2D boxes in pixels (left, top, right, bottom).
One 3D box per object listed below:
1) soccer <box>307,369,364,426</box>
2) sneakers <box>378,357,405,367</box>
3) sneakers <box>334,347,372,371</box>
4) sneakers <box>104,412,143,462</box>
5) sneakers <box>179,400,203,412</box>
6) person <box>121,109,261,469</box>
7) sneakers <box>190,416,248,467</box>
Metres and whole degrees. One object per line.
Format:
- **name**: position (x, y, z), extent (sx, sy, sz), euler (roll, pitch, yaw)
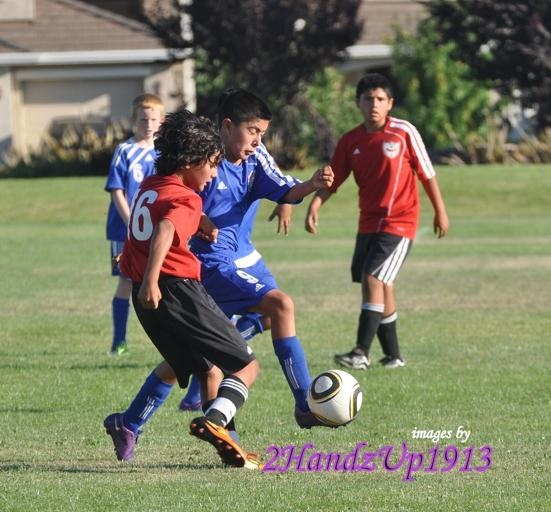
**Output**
- **soccer**: position (0.374, 0.893, 8.239), extent (0.317, 0.347, 0.317), euler (1, -2, -7)
- **sneakers**: position (0.875, 0.808, 9.915), extent (0.189, 0.094, 0.073), euler (5, -2, -1)
- **sneakers**: position (0.579, 0.774, 9.777), extent (0.302, 0.154, 0.115), euler (14, -3, -32)
- **sneakers**: position (-0.936, 1.109, 8.186), extent (0.184, 0.386, 0.133), euler (-18, 2, 12)
- **sneakers**: position (-0.577, 1.021, 8.867), extent (0.203, 0.088, 0.077), euler (0, 5, 6)
- **person**: position (-0.517, 0.210, 7.988), extent (0.877, 2.132, 0.631), euler (7, 13, 37)
- **sneakers**: position (-0.360, 1.139, 7.975), extent (0.097, 0.266, 0.146), euler (-39, 8, 21)
